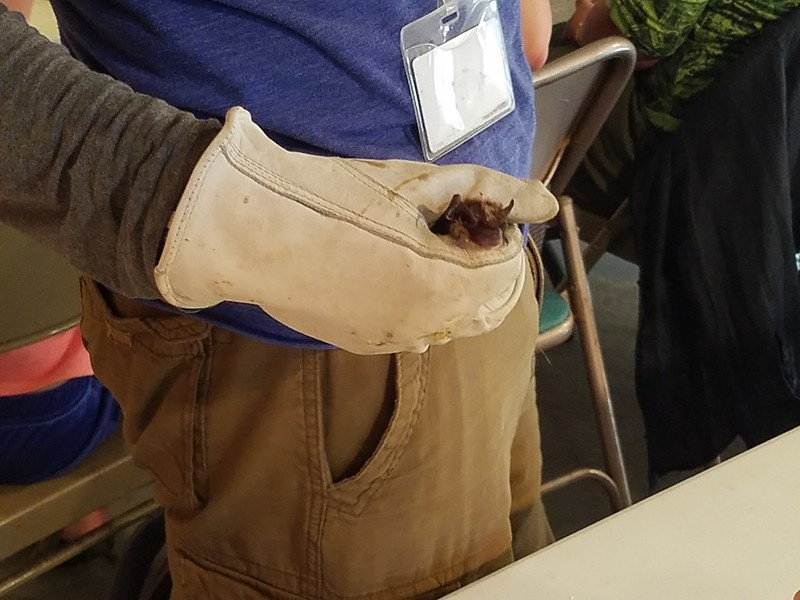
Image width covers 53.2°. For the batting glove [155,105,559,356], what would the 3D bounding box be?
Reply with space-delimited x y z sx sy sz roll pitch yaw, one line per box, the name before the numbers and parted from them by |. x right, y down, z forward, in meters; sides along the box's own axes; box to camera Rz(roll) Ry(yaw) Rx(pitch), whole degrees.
batting glove | -0.081 -0.063 1.212 0.447 0.186 0.305 18 75 -8

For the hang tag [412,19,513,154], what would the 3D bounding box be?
hang tag | 0.089 -0.330 1.222 0.165 0.139 0.011 -31 22 -26
